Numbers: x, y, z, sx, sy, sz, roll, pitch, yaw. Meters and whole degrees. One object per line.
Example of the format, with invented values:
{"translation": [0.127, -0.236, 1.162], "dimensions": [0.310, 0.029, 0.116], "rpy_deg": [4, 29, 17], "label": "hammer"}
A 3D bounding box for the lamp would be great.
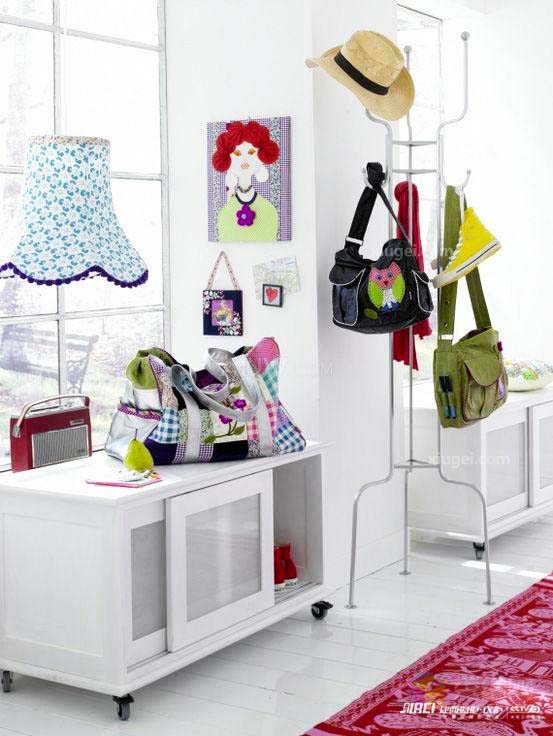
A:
{"translation": [-0.424, -0.324, 1.697], "dimensions": [0.384, 0.313, 0.349], "rpy_deg": [2, 3, -1], "label": "lamp"}

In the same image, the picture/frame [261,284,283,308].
{"translation": [-0.012, -0.254, 2.485], "dimensions": [0.079, 0.076, 0.008], "rpy_deg": [10, 9, 25], "label": "picture/frame"}

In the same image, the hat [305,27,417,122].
{"translation": [0.291, -0.906, 2.207], "dimensions": [0.244, 0.221, 0.410], "rpy_deg": [-4, -3, 35], "label": "hat"}

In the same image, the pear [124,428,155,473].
{"translation": [-0.341, 0.218, 1.782], "dimensions": [0.078, 0.127, 0.078], "rpy_deg": [-5, -8, -7], "label": "pear"}

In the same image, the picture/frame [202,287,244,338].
{"translation": [-0.188, -0.205, 2.602], "dimensions": [0.191, 0.198, 0.020], "rpy_deg": [2, 7, 17], "label": "picture/frame"}

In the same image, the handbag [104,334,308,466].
{"translation": [-0.182, 0.116, 1.954], "dimensions": [0.524, 0.303, 0.319], "rpy_deg": [0, 1, -35], "label": "handbag"}

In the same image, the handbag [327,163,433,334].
{"translation": [0.319, -0.381, 2.270], "dimensions": [0.319, 0.533, 0.127], "rpy_deg": [-3, -3, 15], "label": "handbag"}

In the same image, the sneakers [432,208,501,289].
{"translation": [0.644, -0.415, 2.468], "dimensions": [0.219, 0.283, 0.207], "rpy_deg": [-3, -2, 9], "label": "sneakers"}
